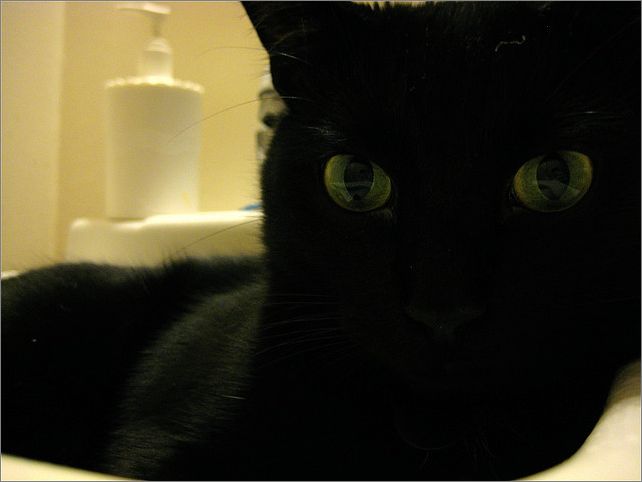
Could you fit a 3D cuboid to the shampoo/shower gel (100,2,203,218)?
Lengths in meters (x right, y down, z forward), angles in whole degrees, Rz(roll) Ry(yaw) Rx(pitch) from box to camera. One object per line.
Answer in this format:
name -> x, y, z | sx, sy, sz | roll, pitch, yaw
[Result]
shampoo/shower gel -> -0.245, -0.180, 1.117 | 0.119, 0.323, 0.124 | 0, 9, -8
